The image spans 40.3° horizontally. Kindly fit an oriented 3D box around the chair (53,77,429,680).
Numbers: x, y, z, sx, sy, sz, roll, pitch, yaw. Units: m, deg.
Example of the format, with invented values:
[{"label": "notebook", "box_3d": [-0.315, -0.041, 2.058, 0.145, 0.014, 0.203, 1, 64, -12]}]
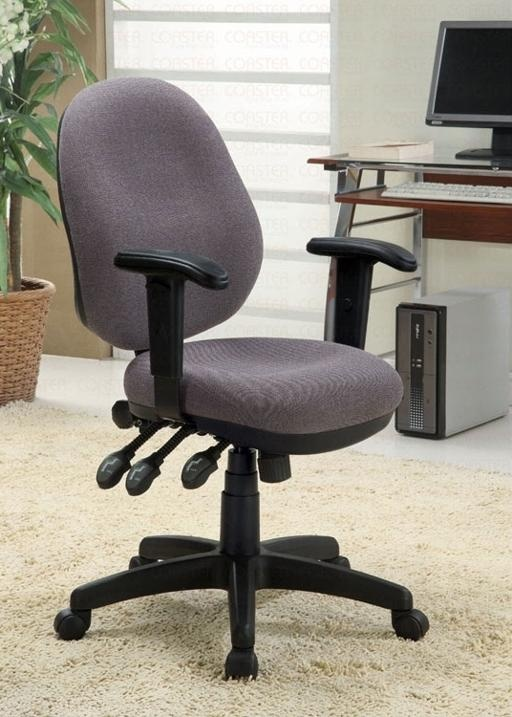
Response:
[{"label": "chair", "box_3d": [-0.023, -0.016, 1.175, 0.578, 0.848, 0.554, -6, 15, -34]}]
